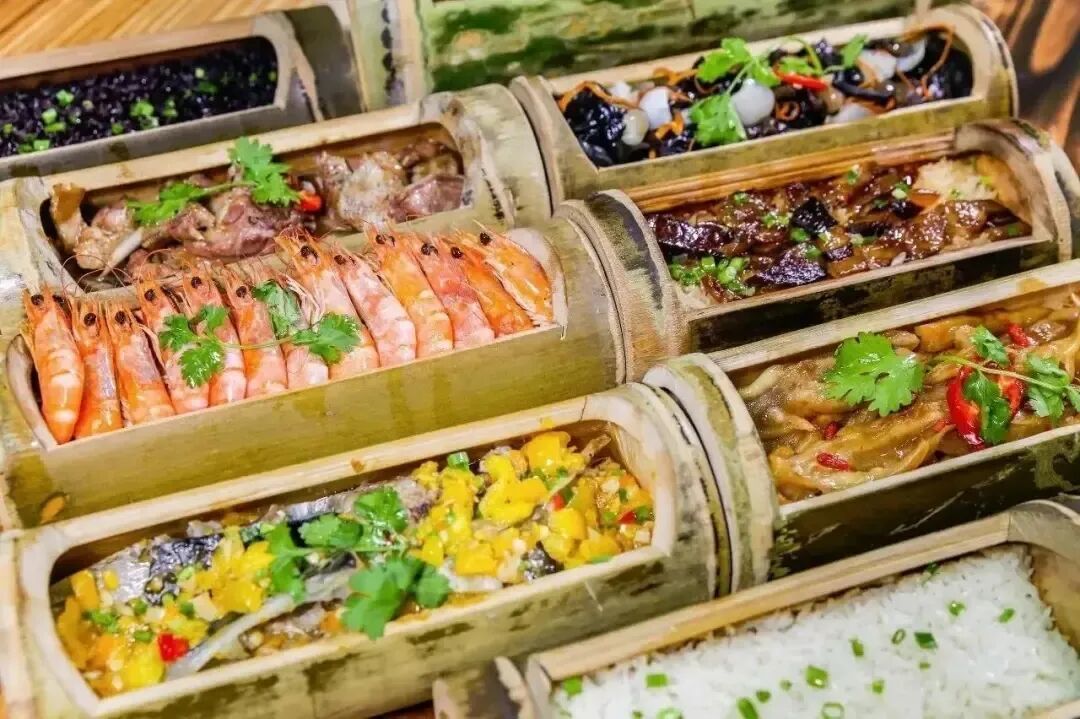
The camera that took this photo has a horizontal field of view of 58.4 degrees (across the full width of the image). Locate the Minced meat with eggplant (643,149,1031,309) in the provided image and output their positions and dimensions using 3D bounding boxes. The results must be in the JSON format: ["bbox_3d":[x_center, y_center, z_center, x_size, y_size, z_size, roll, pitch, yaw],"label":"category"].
[{"bbox_3d":[1.516,-0.636,5.223,2.413,0.380,0.998,-13,31,-11],"label":"Minced meat with eggplant"}]

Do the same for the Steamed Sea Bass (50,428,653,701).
[{"bbox_3d":[-0.918,0.709,4.552,2.975,0.673,0.976,-13,22,-5],"label":"Steamed Sea Bass"}]

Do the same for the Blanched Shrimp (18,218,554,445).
[{"bbox_3d":[-0.873,-0.214,5.055,3.172,0.782,1.003,-11,50,-12],"label":"Blanched Shrimp"}]
